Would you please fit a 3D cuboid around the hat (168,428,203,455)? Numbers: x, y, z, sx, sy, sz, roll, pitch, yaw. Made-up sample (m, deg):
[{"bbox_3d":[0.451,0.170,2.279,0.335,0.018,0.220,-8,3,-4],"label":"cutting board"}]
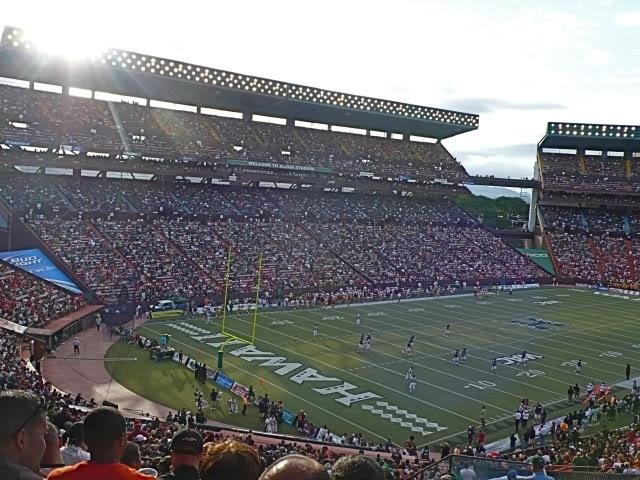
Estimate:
[{"bbox_3d":[-3.864,5.894,19.754,0.904,0.651,0.356,5,10,-8],"label":"hat"}]
